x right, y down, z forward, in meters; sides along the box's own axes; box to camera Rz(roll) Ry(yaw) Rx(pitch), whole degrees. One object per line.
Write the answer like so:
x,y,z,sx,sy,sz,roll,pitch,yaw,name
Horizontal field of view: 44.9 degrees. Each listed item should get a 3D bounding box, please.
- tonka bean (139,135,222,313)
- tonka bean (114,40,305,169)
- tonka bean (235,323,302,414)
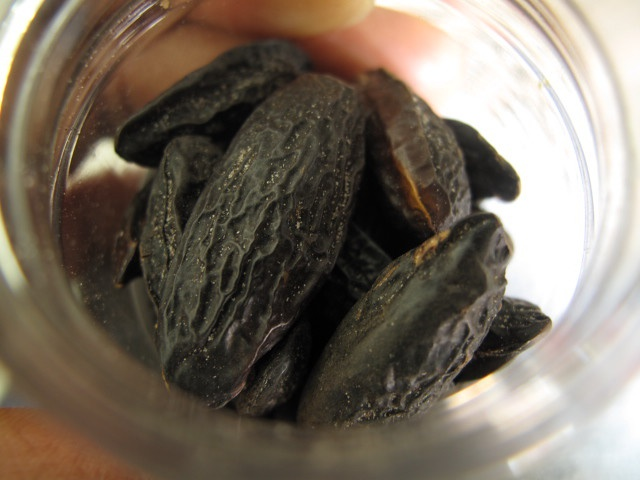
-0.208,-0.022,1.357,0.058,0.272,0.150,19,-12,-32,tonka bean
-0.201,-0.232,1.397,0.079,0.286,0.184,57,-13,13,tonka bean
-0.071,0.219,1.269,0.051,0.150,0.110,24,-7,6,tonka bean
